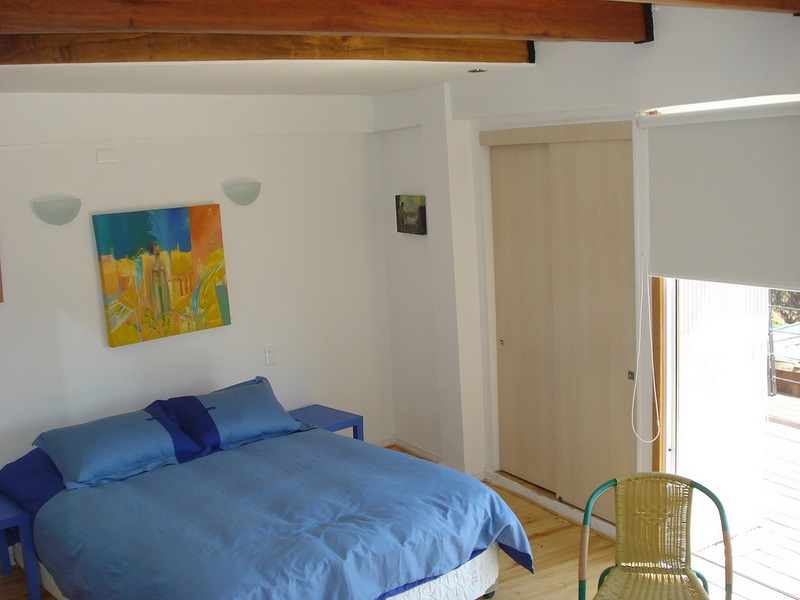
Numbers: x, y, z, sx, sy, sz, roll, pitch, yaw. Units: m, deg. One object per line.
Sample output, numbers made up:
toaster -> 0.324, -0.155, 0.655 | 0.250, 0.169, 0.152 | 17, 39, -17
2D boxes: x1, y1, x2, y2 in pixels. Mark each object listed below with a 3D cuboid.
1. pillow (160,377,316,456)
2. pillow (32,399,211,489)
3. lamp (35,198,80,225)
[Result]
pillow -> -1.174, 0.815, 4.508 | 0.575, 0.150, 0.530 | -11, 35, -33
pillow -> -1.718, 0.922, 4.167 | 0.788, 0.170, 0.514 | -14, 33, -37
lamp -> -2.341, -0.604, 4.366 | 0.287, 0.201, 0.069 | -9, 7, -32
